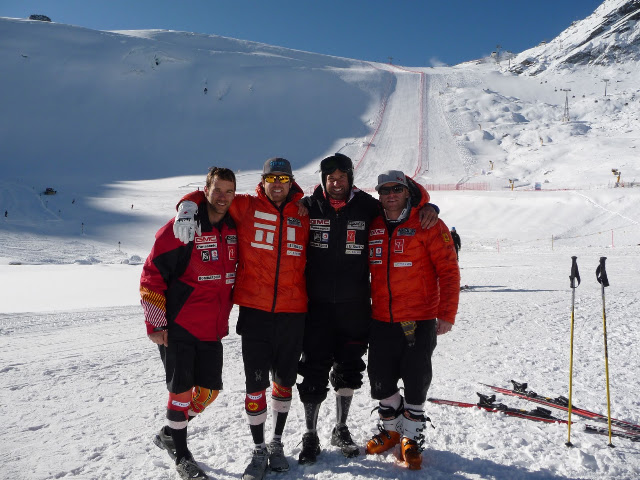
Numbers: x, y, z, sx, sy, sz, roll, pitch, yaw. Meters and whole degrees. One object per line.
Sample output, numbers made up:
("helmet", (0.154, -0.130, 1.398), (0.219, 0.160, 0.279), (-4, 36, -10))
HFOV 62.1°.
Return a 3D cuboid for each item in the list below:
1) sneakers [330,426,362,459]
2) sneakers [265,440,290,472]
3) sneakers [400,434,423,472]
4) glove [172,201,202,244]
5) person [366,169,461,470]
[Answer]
("sneakers", (0.346, 2.872, 7.534), (0.216, 0.245, 0.585), (0, 7, -36))
("sneakers", (-0.588, 2.986, 7.328), (0.313, 0.387, 0.217), (-2, 5, 2))
("sneakers", (1.267, 2.929, 7.289), (0.297, 0.392, 0.238), (-2, 5, 8))
("glove", (-1.832, -0.233, 7.346), (0.455, 0.510, 0.233), (6, -19, 1))
("person", (1.278, 1.037, 7.501), (1.265, 4.055, 0.847), (-3, 5, 3))
